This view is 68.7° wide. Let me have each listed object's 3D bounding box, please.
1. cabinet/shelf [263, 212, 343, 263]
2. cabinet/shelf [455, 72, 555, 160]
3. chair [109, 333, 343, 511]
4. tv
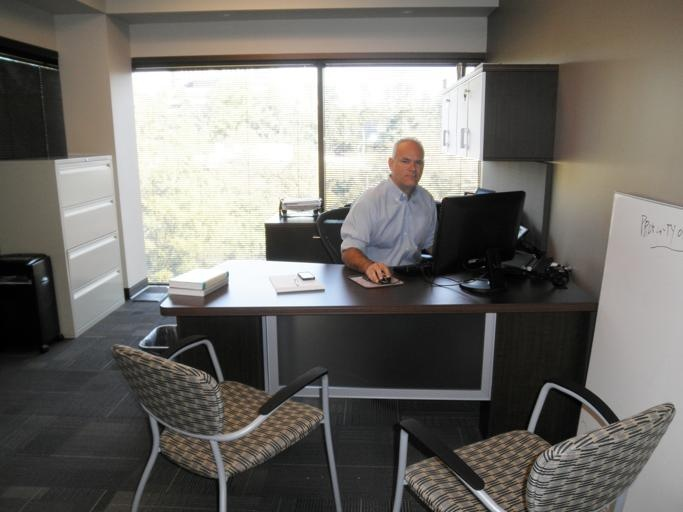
[{"bbox_3d":[-0.371,-0.217,4.576,0.793,0.525,0.432,1,23,3],"label":"cabinet/shelf"},{"bbox_3d":[1.267,-1.197,4.348,0.561,0.710,1.594,-2,14,2],"label":"cabinet/shelf"},{"bbox_3d":[-0.544,0.865,2.561,0.673,0.826,0.722,15,24,31],"label":"chair"},{"bbox_3d":[0.834,-0.083,2.863,0.603,0.548,0.267,-9,14,-26],"label":"tv"}]
